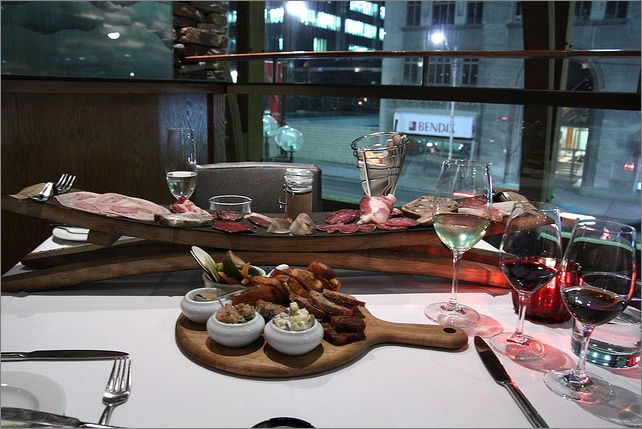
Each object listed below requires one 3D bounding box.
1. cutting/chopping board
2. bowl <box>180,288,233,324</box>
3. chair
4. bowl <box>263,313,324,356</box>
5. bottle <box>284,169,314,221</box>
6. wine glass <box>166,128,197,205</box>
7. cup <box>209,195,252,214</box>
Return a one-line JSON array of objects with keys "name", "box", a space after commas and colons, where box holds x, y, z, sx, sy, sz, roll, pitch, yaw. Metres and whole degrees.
[{"name": "cutting/chopping board", "box": [-0.029, 0.253, 0.897, 0.427, 0.021, 0.207, 2, 9, 5]}, {"name": "bowl", "box": [-0.279, 0.202, 0.975, 0.117, 0.039, 0.097, 6, 12, -5]}, {"name": "chair", "box": [-0.275, -0.137, 1.866, 0.398, 0.230, 0.384, 0, 4, -43]}, {"name": "bowl", "box": [-0.060, 0.253, 0.880, 0.111, 0.035, 0.086, 2, 10, -5]}, {"name": "bottle", "box": [-0.068, -0.056, 1.249, 0.087, 0.140, 0.158, -1, 15, -5]}, {"name": "wine glass", "box": [-0.433, -0.153, 1.295, 0.087, 0.223, 0.161, -5, 18, -16]}, {"name": "cup", "box": [-0.278, -0.038, 1.326, 0.097, 0.067, 0.082, 0, 7, -16]}]
